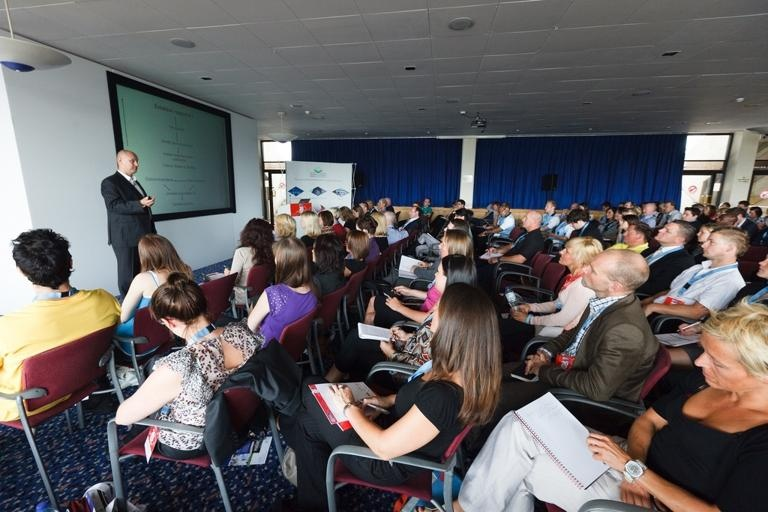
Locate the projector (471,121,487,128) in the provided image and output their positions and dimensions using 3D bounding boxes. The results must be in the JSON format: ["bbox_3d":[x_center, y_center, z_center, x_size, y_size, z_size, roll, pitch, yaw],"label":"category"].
[{"bbox_3d":[1.771,-2.396,8.201,0.282,0.104,0.275,-4,6,14],"label":"projector"}]

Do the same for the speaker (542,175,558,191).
[{"bbox_3d":[4.542,-1.967,12.144,0.276,0.495,0.376,-6,9,-20],"label":"speaker"}]
